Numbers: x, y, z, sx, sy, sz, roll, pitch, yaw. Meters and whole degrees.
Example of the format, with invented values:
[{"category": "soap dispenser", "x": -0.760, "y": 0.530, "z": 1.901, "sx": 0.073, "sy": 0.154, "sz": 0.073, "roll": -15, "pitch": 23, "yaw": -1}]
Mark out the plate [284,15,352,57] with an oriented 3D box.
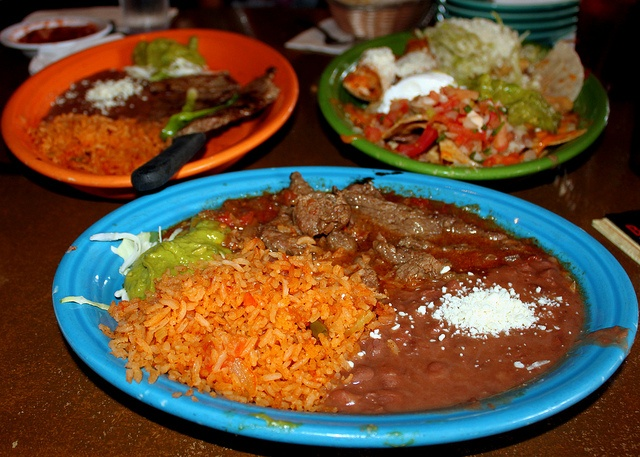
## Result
[{"category": "plate", "x": -0.006, "y": -1.334, "z": 4.045, "sx": 0.421, "sy": 0.046, "sz": 0.385, "roll": -2, "pitch": 43, "yaw": 5}]
